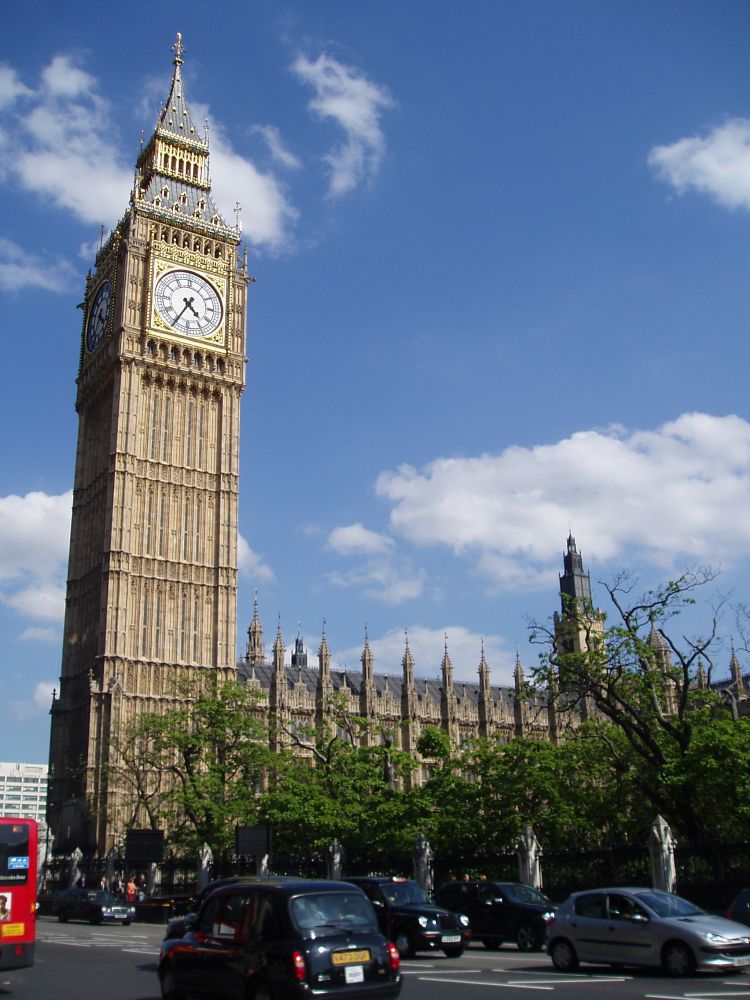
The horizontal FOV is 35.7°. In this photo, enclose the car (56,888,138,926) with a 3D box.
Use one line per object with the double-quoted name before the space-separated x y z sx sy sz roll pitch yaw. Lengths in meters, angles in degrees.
"car" -8.531 12.416 35.519 2.573 0.767 1.169 -25 -40 38
